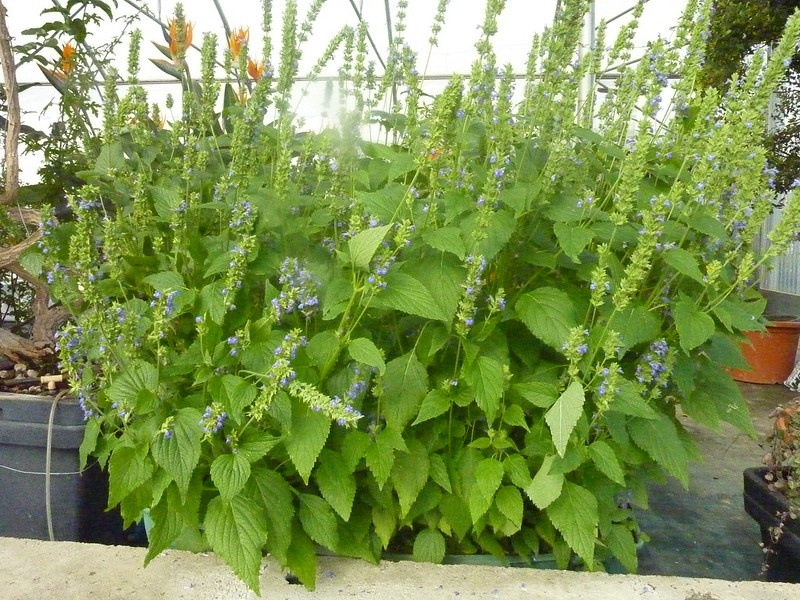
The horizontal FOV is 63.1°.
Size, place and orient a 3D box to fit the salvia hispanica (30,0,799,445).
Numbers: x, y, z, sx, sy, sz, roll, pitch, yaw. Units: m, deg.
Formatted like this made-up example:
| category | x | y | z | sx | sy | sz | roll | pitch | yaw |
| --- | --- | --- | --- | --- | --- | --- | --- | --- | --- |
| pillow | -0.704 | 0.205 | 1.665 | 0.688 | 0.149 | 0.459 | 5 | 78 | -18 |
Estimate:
| category | x | y | z | sx | sy | sz | roll | pitch | yaw |
| --- | --- | --- | --- | --- | --- | --- | --- | --- | --- |
| salvia hispanica | 0.064 | 0.101 | 2.896 | 2.248 | 1.652 | 2.010 | 0 | 39 | -1 |
